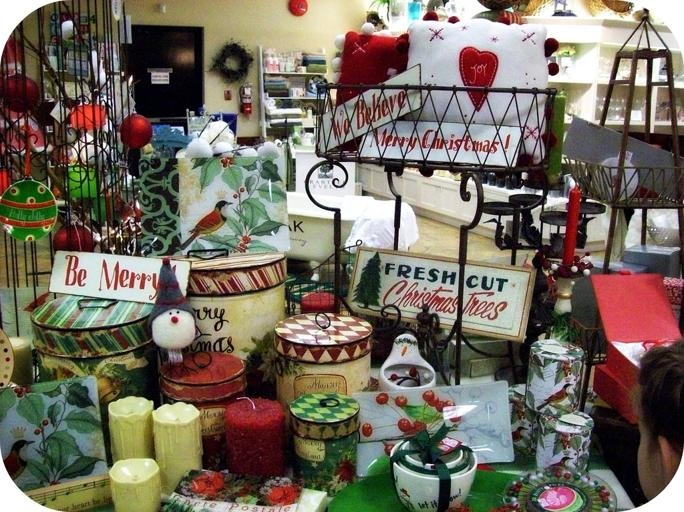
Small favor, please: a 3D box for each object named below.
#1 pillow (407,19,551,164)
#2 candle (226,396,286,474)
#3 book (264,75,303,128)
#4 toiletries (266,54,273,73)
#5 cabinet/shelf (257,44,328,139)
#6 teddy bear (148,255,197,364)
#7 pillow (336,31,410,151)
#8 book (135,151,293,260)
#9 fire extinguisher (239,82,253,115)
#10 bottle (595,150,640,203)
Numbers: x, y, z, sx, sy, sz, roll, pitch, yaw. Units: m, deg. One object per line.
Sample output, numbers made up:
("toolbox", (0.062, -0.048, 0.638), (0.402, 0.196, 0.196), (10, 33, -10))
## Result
("pillow", (0.395, -0.474, 1.644), (0.377, 0.404, 0.152), (3, 6, 12))
("candle", (-0.263, 0.478, 1.617), (0.177, 0.209, 0.182), (0, 6, -14))
("book", (-0.870, -2.285, 8.372), (0.583, 0.735, 0.739), (0, 14, -8))
("toiletries", (-1.084, -2.904, 8.553), (0.111, 0.287, 0.114), (-2, 14, -17))
("cabinet/shelf", (-0.761, -2.696, 8.732), (0.872, 1.457, 0.544), (-1, 56, -11))
("teddy bear", (-0.486, 0.138, 1.621), (0.123, 0.253, 0.076), (-2, 13, -18))
("pillow", (0.087, -0.610, 1.900), (0.200, 0.128, 0.290), (-10, 37, 11))
("book", (-0.436, -0.168, 1.952), (0.502, 0.336, 0.104), (1, 13, -3))
("fire extinguisher", (-1.450, -2.343, 8.561), (0.203, 0.487, 0.268), (-1, 13, -10))
("bottle", (1.062, -0.311, 2.177), (0.138, 0.171, 0.363), (8, 15, 24))
